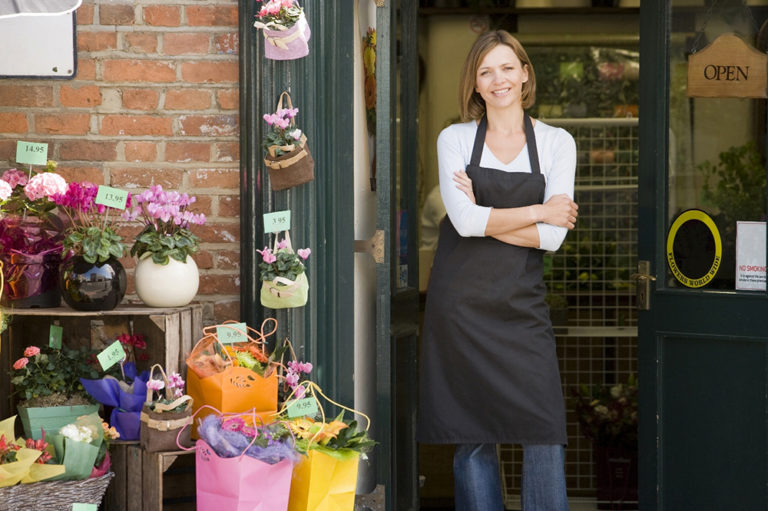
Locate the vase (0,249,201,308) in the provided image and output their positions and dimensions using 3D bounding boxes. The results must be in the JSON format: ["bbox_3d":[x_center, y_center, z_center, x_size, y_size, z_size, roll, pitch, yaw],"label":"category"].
[{"bbox_3d":[-1.258,0.116,4.895,0.839,0.253,0.237,2,-3,-22],"label":"vase"}]

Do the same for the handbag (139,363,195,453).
[{"bbox_3d":[-0.949,0.661,4.776,0.207,0.354,0.255,-9,9,-19],"label":"handbag"}]

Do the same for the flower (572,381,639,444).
[{"bbox_3d":[1.118,0.786,5.513,0.281,0.307,0.134,-3,-3,-5],"label":"flower"}]

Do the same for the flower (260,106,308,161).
[{"bbox_3d":[-0.471,-0.563,5.025,0.224,0.249,0.222,-2,0,-22],"label":"flower"}]

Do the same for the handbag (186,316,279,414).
[{"bbox_3d":[-0.697,0.522,4.936,0.381,0.377,0.380,3,0,29],"label":"handbag"}]

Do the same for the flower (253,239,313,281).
[{"bbox_3d":[-0.456,0.013,5.077,0.226,0.186,0.091,1,-3,-4],"label":"flower"}]
